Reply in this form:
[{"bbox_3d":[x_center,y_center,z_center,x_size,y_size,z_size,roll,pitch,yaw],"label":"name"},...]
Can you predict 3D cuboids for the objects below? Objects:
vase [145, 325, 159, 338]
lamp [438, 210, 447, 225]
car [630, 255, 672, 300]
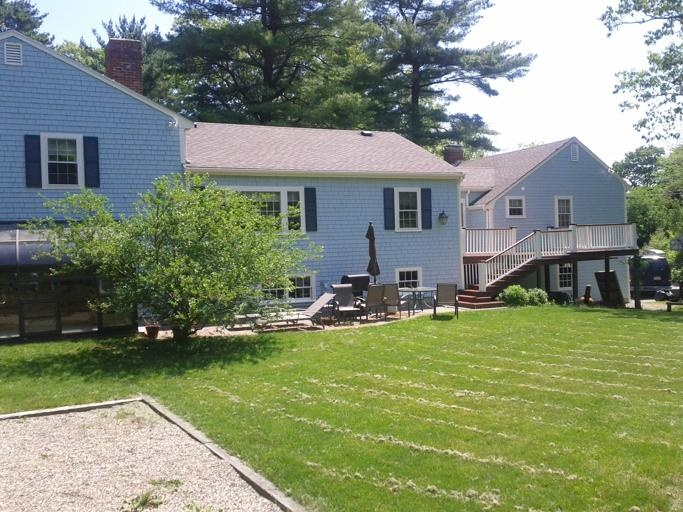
[{"bbox_3d":[-6.451,2.577,23.060,0.385,0.317,0.385,4,-10,-30],"label":"vase"},{"bbox_3d":[4.601,-1.690,30.693,0.463,0.890,0.510,-2,8,-3],"label":"lamp"},{"bbox_3d":[19.988,0.435,43.506,2.511,2.635,4.923,0,21,27],"label":"car"}]
